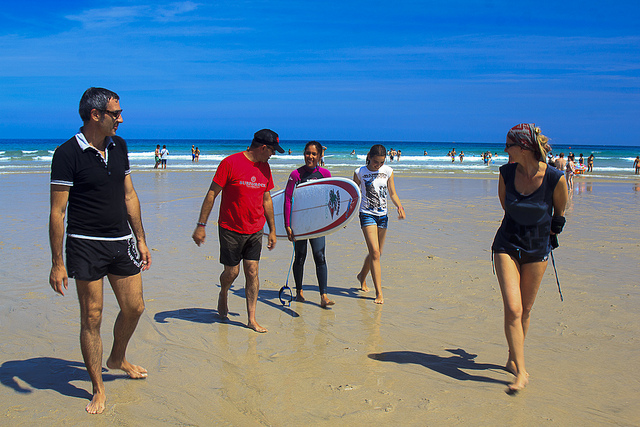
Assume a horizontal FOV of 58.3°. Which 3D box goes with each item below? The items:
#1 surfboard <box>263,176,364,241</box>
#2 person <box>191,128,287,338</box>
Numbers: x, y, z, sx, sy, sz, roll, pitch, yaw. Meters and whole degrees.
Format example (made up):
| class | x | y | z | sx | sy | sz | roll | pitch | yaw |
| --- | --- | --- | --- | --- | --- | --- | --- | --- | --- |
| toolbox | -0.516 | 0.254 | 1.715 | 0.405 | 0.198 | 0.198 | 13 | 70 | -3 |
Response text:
| class | x | y | z | sx | sy | sz | roll | pitch | yaw |
| --- | --- | --- | --- | --- | --- | --- | --- | --- | --- |
| surfboard | -0.111 | -0.079 | 7.670 | 1.117 | 0.352 | 1.074 | -9 | -4 | 12 |
| person | -0.924 | 0.209 | 6.817 | 1.067 | 2.373 | 0.645 | -5 | 15 | -11 |
